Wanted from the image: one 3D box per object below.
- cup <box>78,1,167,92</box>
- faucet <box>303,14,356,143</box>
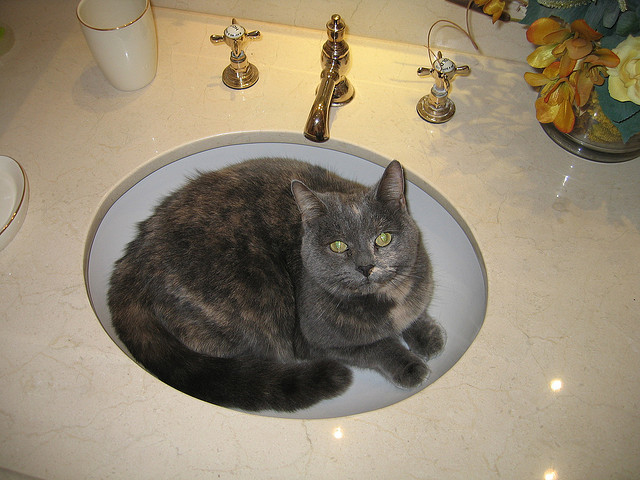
[{"bbox_3d":[-0.469,-0.450,1.349,0.118,0.139,0.142,33,56,24],"label":"cup"},{"bbox_3d":[0.040,-0.392,1.323,0.106,0.218,0.317,5,57,10],"label":"faucet"}]
